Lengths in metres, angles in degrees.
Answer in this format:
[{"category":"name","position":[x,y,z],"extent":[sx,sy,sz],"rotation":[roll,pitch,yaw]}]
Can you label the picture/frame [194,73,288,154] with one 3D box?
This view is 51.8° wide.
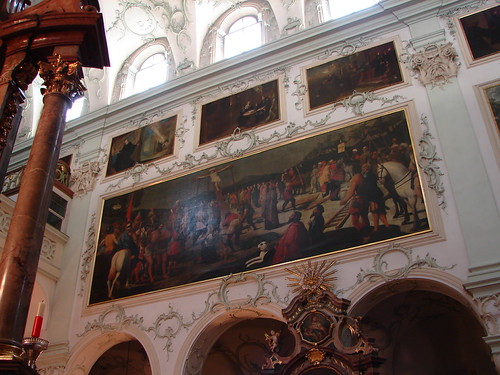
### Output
[{"category":"picture/frame","position":[-0.171,-1.856,13.445],"extent":[2.195,1.394,0.040],"rotation":[-22,-41,26]}]
